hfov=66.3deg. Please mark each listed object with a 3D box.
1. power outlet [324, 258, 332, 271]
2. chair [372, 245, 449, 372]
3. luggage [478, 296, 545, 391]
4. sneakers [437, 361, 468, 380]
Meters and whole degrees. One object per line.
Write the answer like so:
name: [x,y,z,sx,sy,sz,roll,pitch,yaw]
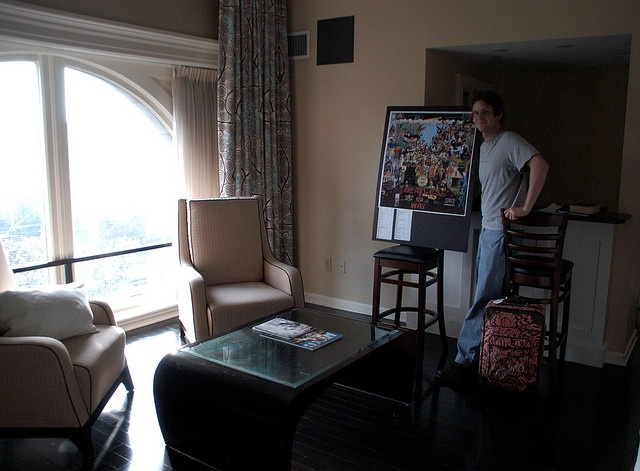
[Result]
power outlet: [0.080,0.294,5.138,0.120,0.175,0.025,4,6,42]
chair: [0.775,0.595,4.203,0.655,0.997,0.690,1,6,9]
luggage: [1.397,0.746,3.606,0.435,0.659,0.407,7,11,25]
sneakers: [1.017,1.030,3.773,0.258,0.113,0.103,0,2,-20]
